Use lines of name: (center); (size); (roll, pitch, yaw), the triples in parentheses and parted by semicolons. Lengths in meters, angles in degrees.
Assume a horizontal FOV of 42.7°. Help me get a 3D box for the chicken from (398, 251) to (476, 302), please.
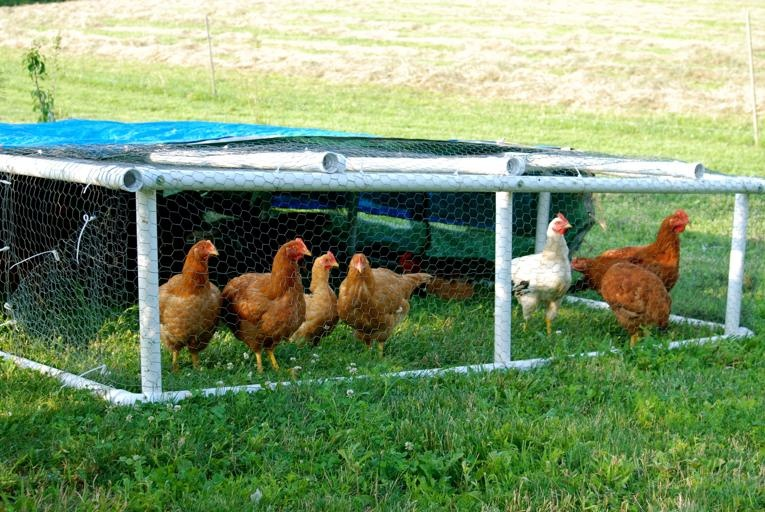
chicken: (0.660, 0.419, 12.753); (1.085, 0.723, 0.367); (15, -10, -4)

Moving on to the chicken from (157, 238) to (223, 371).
chicken: (-2.103, 0.536, 10.616); (0.663, 1.419, 0.303); (-3, 11, -11)

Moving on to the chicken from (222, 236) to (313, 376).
chicken: (-1.319, 0.604, 10.907); (1.201, 1.470, 0.816); (3, 9, 38)

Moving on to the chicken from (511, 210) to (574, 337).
chicken: (1.969, 0.260, 11.978); (0.718, 1.469, 1.913); (2, -3, -1)

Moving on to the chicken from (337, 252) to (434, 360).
chicken: (-0.041, 0.487, 11.275); (0.478, 1.162, 0.977); (9, 14, 41)

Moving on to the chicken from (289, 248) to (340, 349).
chicken: (-0.837, 0.570, 11.385); (0.592, 1.195, 1.035); (-4, -1, -34)
